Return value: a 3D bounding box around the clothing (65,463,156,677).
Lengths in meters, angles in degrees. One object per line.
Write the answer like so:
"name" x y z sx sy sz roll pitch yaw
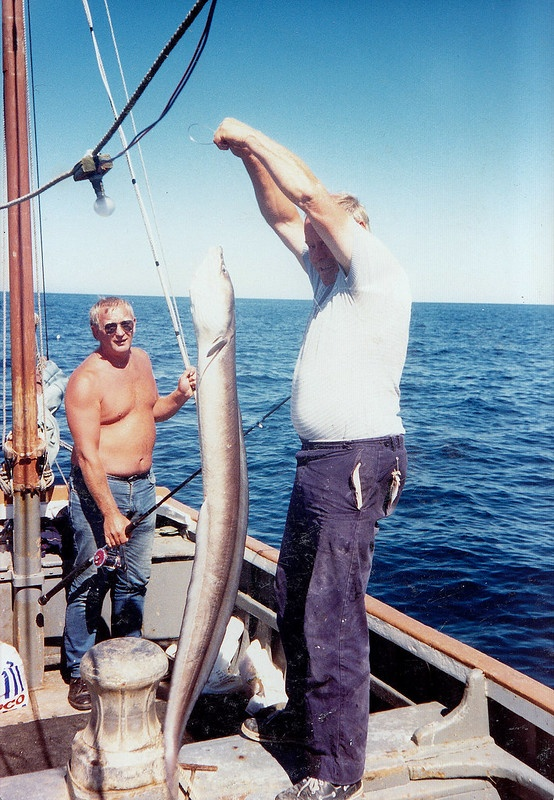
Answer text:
"clothing" -0.767 0.840 4.454 0.290 0.992 0.406 1 10 -45

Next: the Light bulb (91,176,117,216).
"Light bulb" -0.707 -0.833 3.571 0.082 0.152 0.138 -1 11 -13

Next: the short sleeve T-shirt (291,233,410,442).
"short sleeve T-shirt" 0.233 -0.204 2.884 0.377 0.716 0.221 3 11 6

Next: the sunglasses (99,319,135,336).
"sunglasses" -0.740 -0.353 4.240 0.084 0.073 0.191 7 12 30

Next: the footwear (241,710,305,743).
"footwear" -0.005 1.192 3.213 0.232 0.085 0.096 2 -8 12

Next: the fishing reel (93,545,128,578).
"fishing reel" -0.765 0.736 4.023 0.121 0.133 0.179 11 -3 24

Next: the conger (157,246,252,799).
"conger" -0.173 0.375 2.198 0.188 1.484 0.337 1 11 -2
